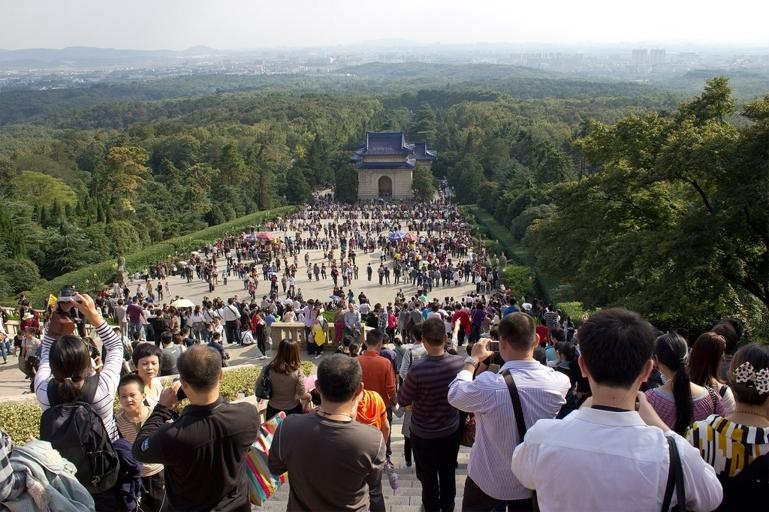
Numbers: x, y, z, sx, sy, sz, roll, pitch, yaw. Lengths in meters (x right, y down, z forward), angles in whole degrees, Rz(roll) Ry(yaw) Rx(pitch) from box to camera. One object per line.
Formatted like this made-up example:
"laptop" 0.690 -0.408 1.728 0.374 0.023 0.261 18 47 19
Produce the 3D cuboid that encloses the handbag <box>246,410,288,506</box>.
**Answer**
"handbag" -1.183 2.098 5.762 0.344 0.843 0.532 -2 14 1

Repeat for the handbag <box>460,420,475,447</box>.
"handbag" 0.915 1.967 6.230 0.141 0.302 0.218 -1 14 5

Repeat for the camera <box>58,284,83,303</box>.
"camera" -3.335 0.397 5.970 0.197 0.116 0.264 -5 22 -19
